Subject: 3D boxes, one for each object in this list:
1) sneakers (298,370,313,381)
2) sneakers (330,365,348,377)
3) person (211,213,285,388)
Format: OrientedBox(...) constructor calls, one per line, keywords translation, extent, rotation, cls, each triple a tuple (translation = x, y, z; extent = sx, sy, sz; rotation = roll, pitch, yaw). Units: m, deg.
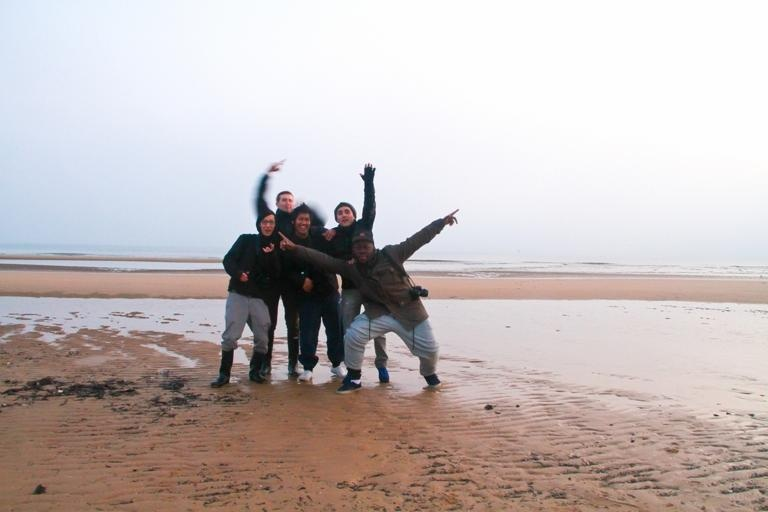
OrientedBox(translation=(-1.280, 1.926, 8.907), extent=(0.136, 0.083, 0.210), rotation=(-1, 2, 8), cls="sneakers")
OrientedBox(translation=(-0.769, 1.913, 9.230), extent=(0.132, 0.121, 0.332), rotation=(8, 7, 1), cls="sneakers")
OrientedBox(translation=(-2.139, 0.637, 8.591), extent=(0.997, 2.708, 0.668), rotation=(-1, 13, -15), cls="person")
